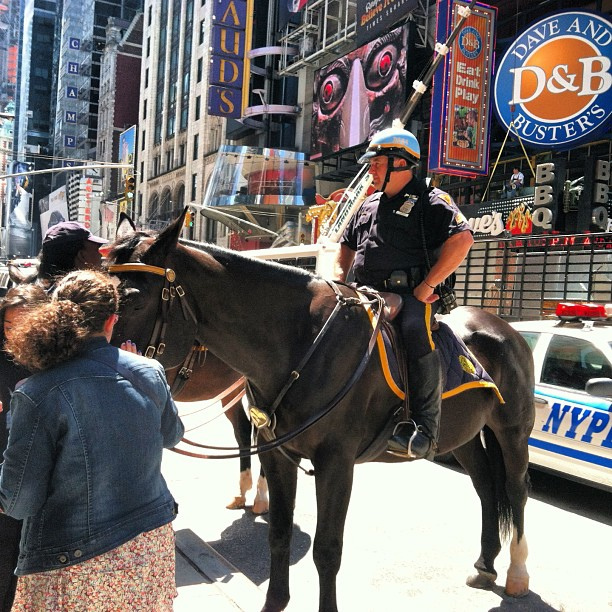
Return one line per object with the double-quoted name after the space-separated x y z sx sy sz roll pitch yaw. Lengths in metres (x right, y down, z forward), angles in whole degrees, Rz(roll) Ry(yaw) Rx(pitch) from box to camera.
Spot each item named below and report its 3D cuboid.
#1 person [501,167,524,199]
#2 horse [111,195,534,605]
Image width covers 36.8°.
4.260 -2.562 18.985 0.356 0.624 1.395 5 5 11 "person"
0.248 0.801 6.135 3.095 2.762 1.260 -2 8 -44 "horse"
